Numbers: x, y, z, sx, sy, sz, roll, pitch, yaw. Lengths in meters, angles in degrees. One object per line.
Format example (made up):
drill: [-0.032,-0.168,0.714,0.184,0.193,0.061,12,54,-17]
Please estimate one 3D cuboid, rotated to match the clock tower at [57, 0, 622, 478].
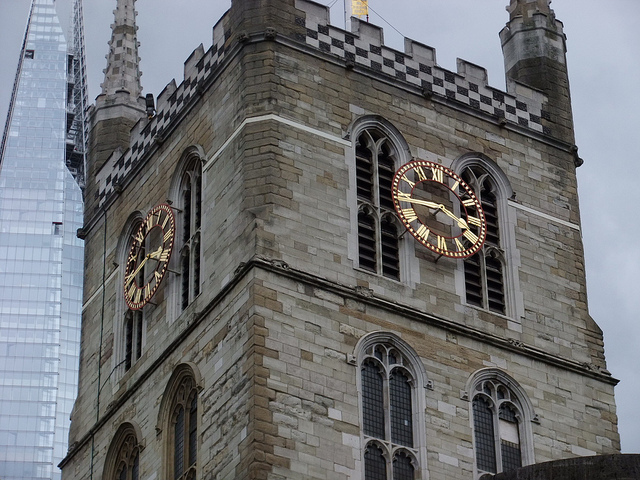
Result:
clock tower: [0.913,1.084,88.882,12.474,20.925,12.090,8,-23,-23]
